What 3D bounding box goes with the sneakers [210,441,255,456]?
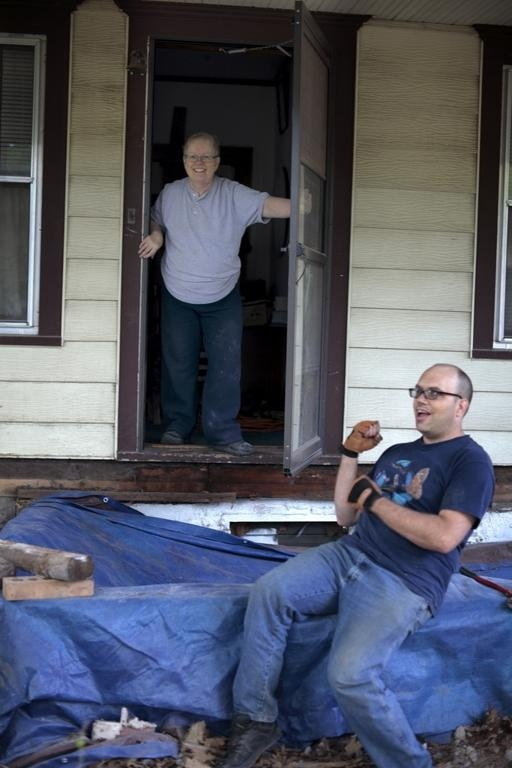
[{"bbox_3d":[-0.130,0.356,4.091,0.224,0.085,0.085,-3,1,34],"label":"sneakers"}]
